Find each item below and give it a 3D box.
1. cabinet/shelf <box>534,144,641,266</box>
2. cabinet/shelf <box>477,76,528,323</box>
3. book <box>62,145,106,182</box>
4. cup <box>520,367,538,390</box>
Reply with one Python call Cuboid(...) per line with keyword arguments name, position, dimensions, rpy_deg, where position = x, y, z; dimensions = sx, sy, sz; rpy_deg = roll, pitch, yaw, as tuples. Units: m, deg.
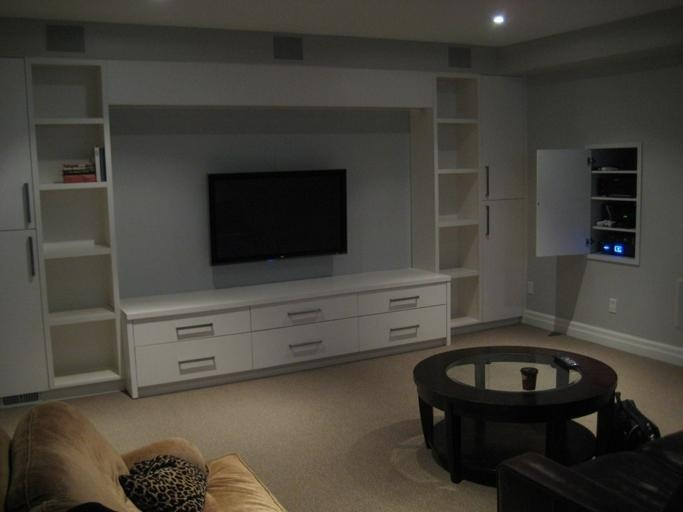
Cuboid(name="cabinet/shelf", position=(2.387, -0.483, 5.303), dimensions=(0.901, 1.118, 0.559), rpy_deg=(2, -1, 0))
Cuboid(name="cabinet/shelf", position=(1.711, -0.593, 5.780), dimensions=(0.707, 2.511, 0.231), rpy_deg=(-7, 13, -24))
Cuboid(name="book", position=(-2.023, -0.717, 4.297), dimensions=(0.313, 0.264, 0.191), rpy_deg=(-8, 14, -29))
Cuboid(name="cup", position=(1.123, 0.732, 3.279), dimensions=(0.099, 0.112, 0.104), rpy_deg=(0, 8, 0))
